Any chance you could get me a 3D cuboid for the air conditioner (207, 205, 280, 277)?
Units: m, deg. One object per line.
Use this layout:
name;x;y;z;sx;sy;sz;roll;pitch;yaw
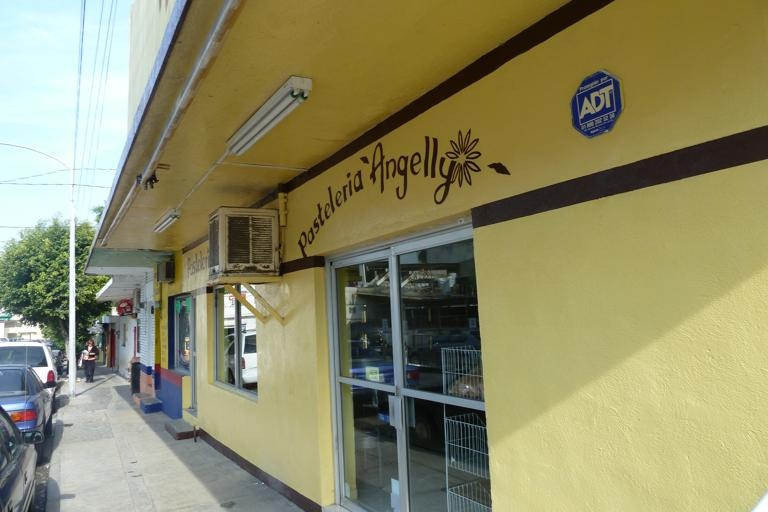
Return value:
air conditioner;-1.569;-0.217;7.215;0.976;0.905;0.746;-8;-1;27
